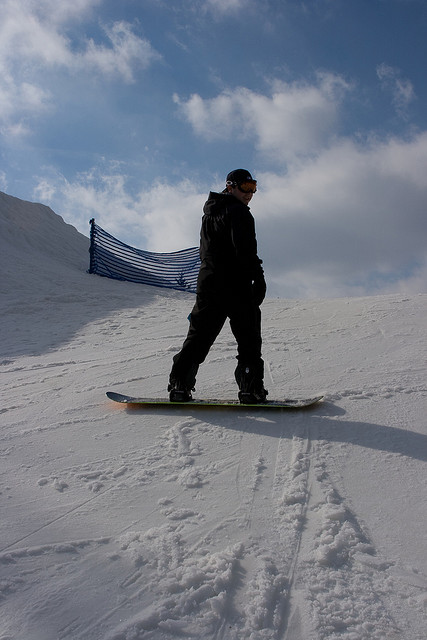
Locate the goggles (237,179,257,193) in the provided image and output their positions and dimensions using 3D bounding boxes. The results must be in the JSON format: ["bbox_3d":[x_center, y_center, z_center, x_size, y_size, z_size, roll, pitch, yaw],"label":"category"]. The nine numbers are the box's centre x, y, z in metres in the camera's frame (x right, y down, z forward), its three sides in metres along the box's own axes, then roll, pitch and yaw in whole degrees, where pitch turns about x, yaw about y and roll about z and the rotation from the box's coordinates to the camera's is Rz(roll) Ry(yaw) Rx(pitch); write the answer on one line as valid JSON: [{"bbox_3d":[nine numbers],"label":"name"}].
[{"bbox_3d":[0.198,-0.784,3.071,0.102,0.081,0.128,-3,9,-2],"label":"goggles"}]

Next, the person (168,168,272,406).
[{"bbox_3d":[0.017,-0.198,3.131,0.573,1.355,0.421,-2,9,5],"label":"person"}]

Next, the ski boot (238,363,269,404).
[{"bbox_3d":[0.242,0.374,3.196,0.129,0.263,0.386,2,-7,17],"label":"ski boot"}]
